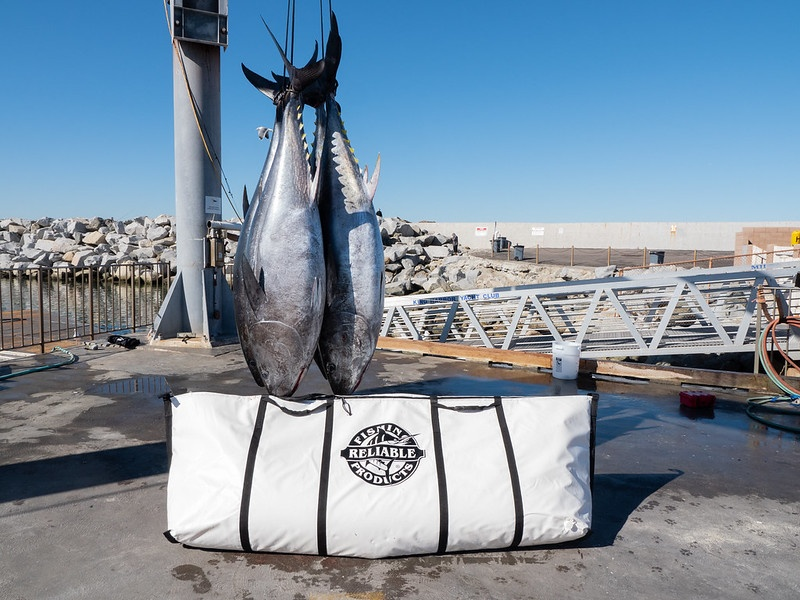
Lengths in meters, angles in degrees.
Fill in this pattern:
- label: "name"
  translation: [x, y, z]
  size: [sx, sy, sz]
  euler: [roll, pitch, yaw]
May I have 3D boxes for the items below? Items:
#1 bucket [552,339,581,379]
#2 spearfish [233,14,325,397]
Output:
- label: "bucket"
  translation: [2.977, 1.012, 10.392]
  size: [0.443, 0.633, 0.328]
  euler: [3, 12, 12]
- label: "spearfish"
  translation: [-1.354, -0.776, 6.537]
  size: [0.840, 3.567, 1.035]
  euler: [-10, 16, -39]
